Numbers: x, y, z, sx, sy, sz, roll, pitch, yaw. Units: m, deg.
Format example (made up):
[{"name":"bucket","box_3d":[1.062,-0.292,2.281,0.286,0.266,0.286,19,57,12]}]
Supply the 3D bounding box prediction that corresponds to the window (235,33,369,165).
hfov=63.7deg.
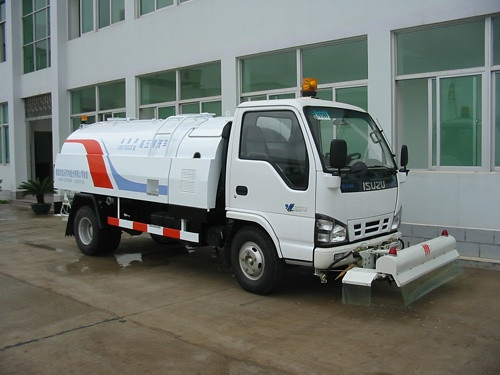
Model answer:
[{"name":"window","box_3d":[1.483,-2.349,10.835,3.582,2.879,0.126,-2,26,21]}]

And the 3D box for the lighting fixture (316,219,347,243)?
[{"name":"lighting fixture","box_3d":[1.114,0.608,5.862,0.362,0.196,0.500,-6,13,-3]}]

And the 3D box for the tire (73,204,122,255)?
[{"name":"tire","box_3d":[-3.503,0.956,9.006,1.013,1.137,0.435,-3,2,39]}]

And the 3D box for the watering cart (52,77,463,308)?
[{"name":"watering cart","box_3d":[-0.714,0.022,7.966,7.662,3.188,2.872,3,2,35]}]

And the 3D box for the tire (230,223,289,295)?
[{"name":"tire","box_3d":[0.149,1.094,6.236,0.920,1.108,0.359,7,12,42]}]

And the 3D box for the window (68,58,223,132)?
[{"name":"window","box_3d":[-3.852,-2.793,14.437,6.112,2.319,0.148,-3,8,17]}]
